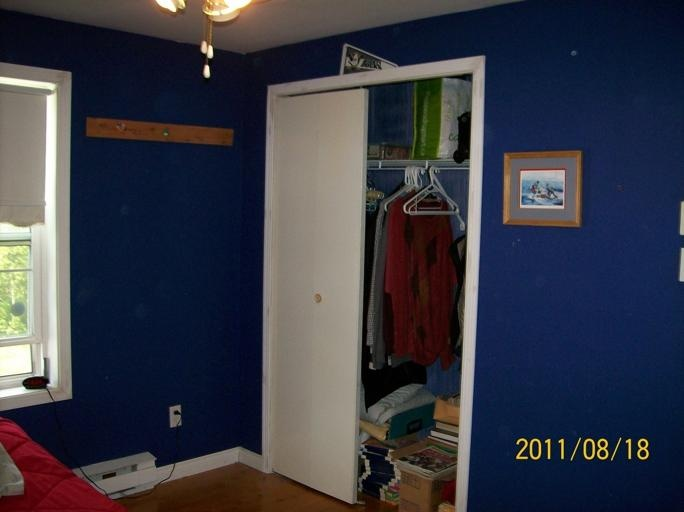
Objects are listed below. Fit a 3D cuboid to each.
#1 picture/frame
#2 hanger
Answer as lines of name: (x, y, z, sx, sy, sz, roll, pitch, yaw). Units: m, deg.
picture/frame: (1.085, -0.361, 3.164, 0.393, 0.417, 0.039, 2, 0, 33)
hanger: (0.576, -0.420, 4.055, 0.450, 0.262, 0.380, -3, 6, -29)
